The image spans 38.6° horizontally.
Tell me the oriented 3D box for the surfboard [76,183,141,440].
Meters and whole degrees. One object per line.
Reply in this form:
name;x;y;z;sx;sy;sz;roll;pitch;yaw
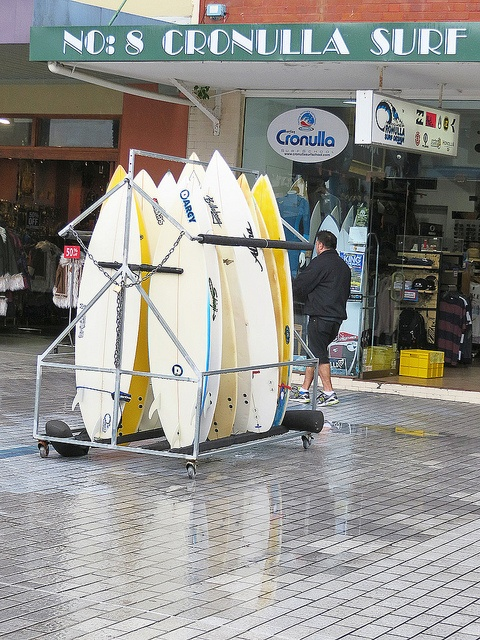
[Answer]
surfboard;-0.941;-0.068;4.860;0.529;1.837;0.382;2;-2;3

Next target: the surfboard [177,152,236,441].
surfboard;-0.168;-0.204;4.891;0.192;2.108;0.367;1;-4;-44

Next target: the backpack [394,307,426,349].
backpack;2.730;0.157;10.948;0.451;0.693;0.164;1;6;14

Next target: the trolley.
trolley;-0.321;-0.046;5.285;1.960;2.428;1.462;2;4;44

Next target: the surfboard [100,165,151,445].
surfboard;-0.774;-0.052;4.932;0.332;2.035;0.198;-4;-9;34

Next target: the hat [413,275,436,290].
hat;2.936;-0.587;10.985;0.203;0.141;0.357;4;13;21

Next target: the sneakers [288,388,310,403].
sneakers;0.641;0.852;7.706;0.116;0.178;0.337;-2;6;-20

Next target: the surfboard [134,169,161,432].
surfboard;-0.694;-0.172;5.233;0.289;1.858;0.171;-2;-3;22

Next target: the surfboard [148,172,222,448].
surfboard;-0.336;-0.075;4.739;0.546;1.894;0.428;1;-2;39

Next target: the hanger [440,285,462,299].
hanger;3.611;-0.474;11.832;0.301;0.299;0.775;2;-2;18

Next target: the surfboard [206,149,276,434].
surfboard;0.023;-0.091;5.123;0.427;2.371;0.211;-5;0;21
